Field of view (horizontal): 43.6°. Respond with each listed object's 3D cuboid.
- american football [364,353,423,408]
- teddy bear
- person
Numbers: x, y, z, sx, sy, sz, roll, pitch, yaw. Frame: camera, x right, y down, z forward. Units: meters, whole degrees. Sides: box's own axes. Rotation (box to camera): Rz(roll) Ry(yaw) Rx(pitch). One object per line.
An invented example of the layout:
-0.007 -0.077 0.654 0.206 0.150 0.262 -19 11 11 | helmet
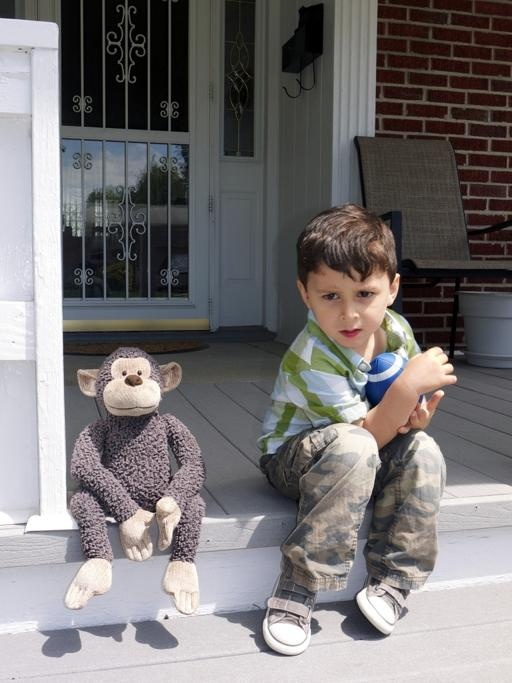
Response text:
0.232 0.071 1.117 0.102 0.108 0.097 3 10 4 | american football
-0.176 0.188 0.984 0.243 0.370 0.311 -4 9 -24 | teddy bear
0.177 0.121 1.042 0.335 0.677 0.406 3 12 0 | person
